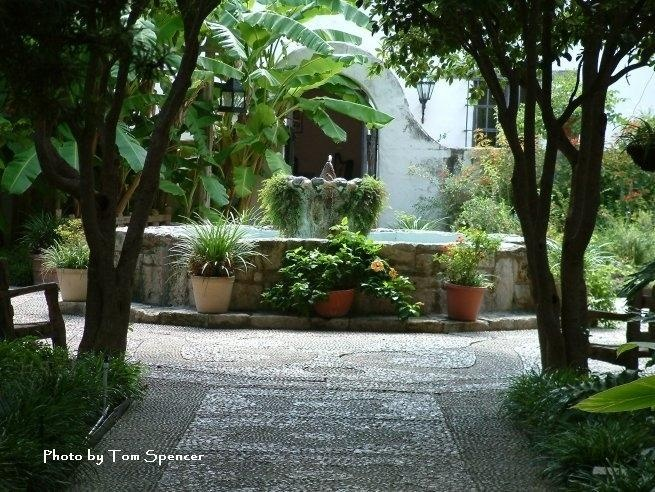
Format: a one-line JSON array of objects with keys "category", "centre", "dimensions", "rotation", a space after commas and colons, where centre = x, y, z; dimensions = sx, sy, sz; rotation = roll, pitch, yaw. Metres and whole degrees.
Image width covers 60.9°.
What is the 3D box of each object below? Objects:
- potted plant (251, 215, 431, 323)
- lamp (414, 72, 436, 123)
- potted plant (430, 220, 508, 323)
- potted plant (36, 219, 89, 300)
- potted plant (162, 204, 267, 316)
[{"category": "potted plant", "centre": [0.269, 0.117, 6.796], "dimensions": [1.005, 0.708, 0.935], "rotation": [-22, 6, 22]}, {"category": "lamp", "centre": [2.344, -3.488, 13.358], "dimensions": [0.428, 1.004, 1.188], "rotation": [2, 5, 10]}, {"category": "potted plant", "centre": [1.750, 0.367, 7.046], "dimensions": [0.906, 1.418, 1.023], "rotation": [4, -7, 16]}, {"category": "potted plant", "centre": [-3.560, 0.159, 7.562], "dimensions": [0.532, 0.918, 2.215], "rotation": [-2, 6, -28]}, {"category": "potted plant", "centre": [-1.305, 0.303, 6.574], "dimensions": [0.908, 0.965, 0.886], "rotation": [0, -5, 35]}]
